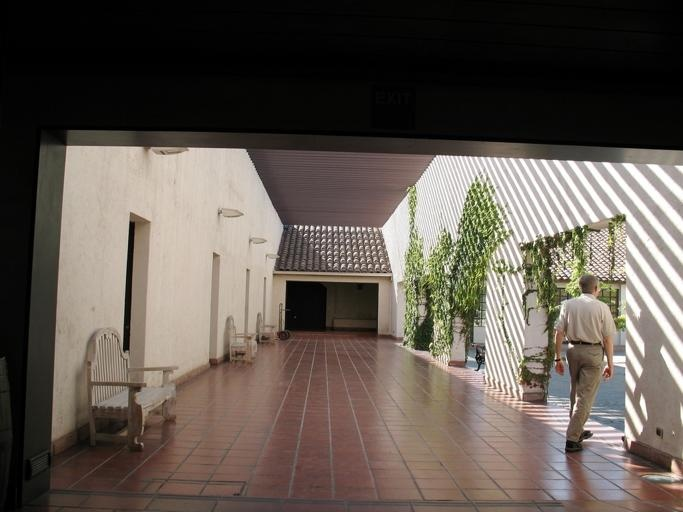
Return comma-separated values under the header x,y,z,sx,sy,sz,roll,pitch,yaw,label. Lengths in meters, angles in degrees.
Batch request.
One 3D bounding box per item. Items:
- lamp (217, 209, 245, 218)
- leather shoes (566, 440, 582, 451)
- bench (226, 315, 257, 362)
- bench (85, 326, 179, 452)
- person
x,y,z,sx,sy,sz,roll,pitch,yaw,label
-2.331,-0.879,10.687,0.493,0.168,0.272,-3,-7,29,lamp
2.463,2.002,5.540,0.207,0.118,0.099,2,-3,-5,leather shoes
-2.230,1.836,11.760,0.567,1.009,0.704,0,-1,5,bench
-2.314,1.416,5.800,0.638,1.120,1.455,2,-6,-5,bench
2.670,1.133,5.764,0.598,1.886,0.664,0,-3,27,person
